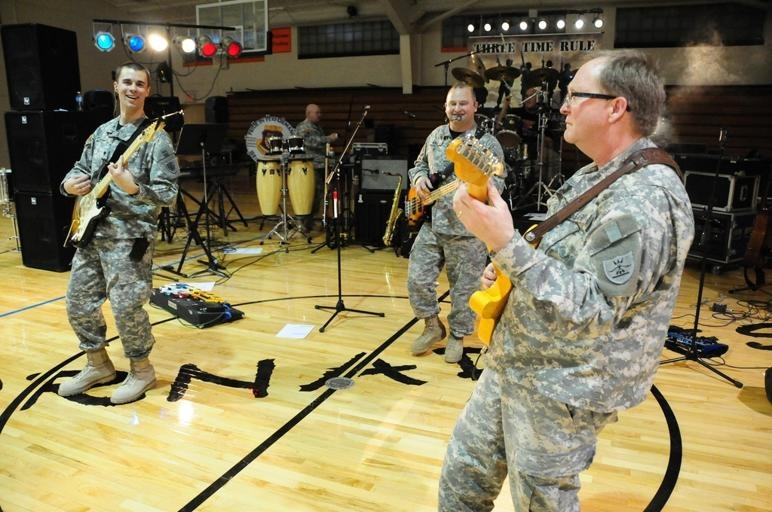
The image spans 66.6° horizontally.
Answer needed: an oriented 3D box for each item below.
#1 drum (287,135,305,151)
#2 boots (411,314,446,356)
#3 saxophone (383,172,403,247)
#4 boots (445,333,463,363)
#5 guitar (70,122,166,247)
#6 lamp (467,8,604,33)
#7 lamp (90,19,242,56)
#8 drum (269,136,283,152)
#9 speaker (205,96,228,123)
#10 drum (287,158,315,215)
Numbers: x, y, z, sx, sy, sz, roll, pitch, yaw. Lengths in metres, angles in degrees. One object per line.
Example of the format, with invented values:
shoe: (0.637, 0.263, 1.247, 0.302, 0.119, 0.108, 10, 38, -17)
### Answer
drum: (-1.445, -1.763, 9.376, 0.261, 0.213, 0.244, 0, 0, -1)
boots: (0.372, 0.714, 5.541, 0.445, 0.274, 0.139, -26, 26, -33)
saxophone: (0.098, -0.654, 8.021, 0.191, 1.133, 0.182, 19, -18, -26)
boots: (0.617, 0.866, 5.367, 0.120, 0.118, 0.311, 2, 8, 14)
guitar: (-2.142, -0.560, 4.581, 0.827, 0.973, 0.515, -5, 16, -15)
lamp: (3.188, -4.889, 12.425, 2.684, 0.525, 1.145, 4, 15, 16)
lamp: (-4.019, -3.804, 10.459, 2.215, 0.418, 0.284, -3, 31, -16)
drum: (-1.852, -1.794, 9.614, 0.311, 0.244, 0.284, 0, 3, 0)
speaker: (-4.522, -3.804, 15.419, 0.392, 0.644, 0.840, 1, 15, 6)
drum: (-1.383, -1.088, 9.588, 0.427, 0.936, 0.327, -3, 16, -8)
